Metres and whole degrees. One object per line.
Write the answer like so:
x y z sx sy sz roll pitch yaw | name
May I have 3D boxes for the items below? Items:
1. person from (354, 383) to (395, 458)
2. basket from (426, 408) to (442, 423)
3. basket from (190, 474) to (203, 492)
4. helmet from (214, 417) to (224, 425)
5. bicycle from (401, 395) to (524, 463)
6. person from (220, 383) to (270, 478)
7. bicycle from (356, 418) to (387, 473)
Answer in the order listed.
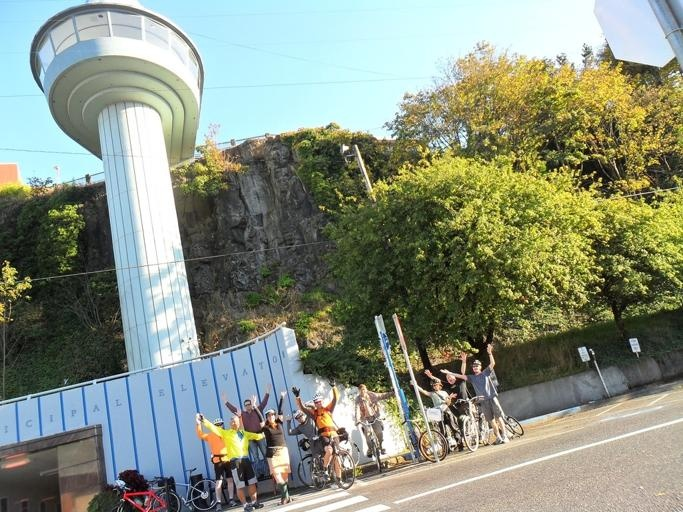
1.261 4.947 16.829 0.934 2.519 1.463 5 16 0 | person
2.736 4.621 15.353 0.376 0.196 0.410 0 11 -16 | basket
-4.534 7.149 16.637 0.308 0.586 0.346 -3 -7 -20 | basket
-3.621 4.900 15.628 0.336 0.210 0.520 -1 -23 -12 | helmet
3.415 5.138 15.728 2.598 1.333 1.086 -5 -6 -40 | bicycle
-2.563 5.222 15.704 1.461 2.598 0.476 -10 -35 -20 | person
1.002 5.837 16.450 0.758 1.277 1.923 -14 6 -1 | bicycle
